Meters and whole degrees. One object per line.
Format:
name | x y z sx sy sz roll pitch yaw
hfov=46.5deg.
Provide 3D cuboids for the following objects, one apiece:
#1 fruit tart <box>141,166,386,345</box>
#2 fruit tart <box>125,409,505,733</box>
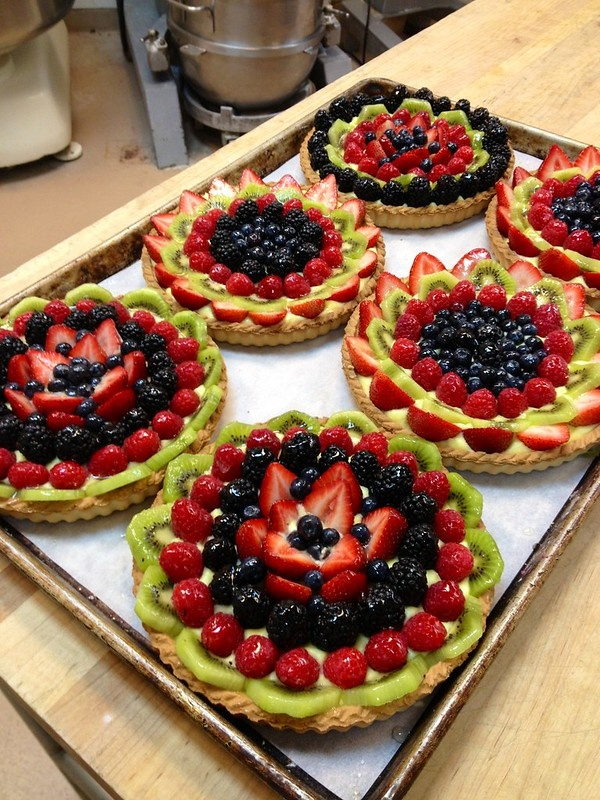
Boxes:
fruit tart | -0.118 -0.522 3.167 0.919 0.298 0.914 -12 43 -13
fruit tart | 0.061 0.447 2.069 1.102 0.516 0.941 -15 39 -15
